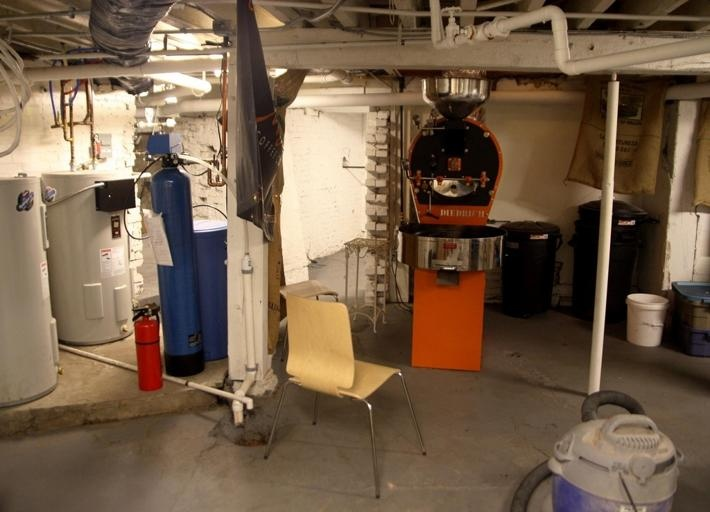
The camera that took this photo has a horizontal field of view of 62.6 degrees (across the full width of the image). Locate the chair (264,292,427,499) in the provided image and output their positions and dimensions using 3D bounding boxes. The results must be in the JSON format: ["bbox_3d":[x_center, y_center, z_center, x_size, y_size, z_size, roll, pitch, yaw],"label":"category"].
[{"bbox_3d":[-0.070,0.931,4.527,1.297,1.364,1.253,-2,10,-12],"label":"chair"}]

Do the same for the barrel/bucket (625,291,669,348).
[{"bbox_3d":[3.109,0.687,6.223,0.436,0.473,0.439,0,10,0],"label":"barrel/bucket"}]

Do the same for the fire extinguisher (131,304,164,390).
[{"bbox_3d":[-1.777,0.782,5.002,0.221,0.673,0.349,-5,15,-20],"label":"fire extinguisher"}]
